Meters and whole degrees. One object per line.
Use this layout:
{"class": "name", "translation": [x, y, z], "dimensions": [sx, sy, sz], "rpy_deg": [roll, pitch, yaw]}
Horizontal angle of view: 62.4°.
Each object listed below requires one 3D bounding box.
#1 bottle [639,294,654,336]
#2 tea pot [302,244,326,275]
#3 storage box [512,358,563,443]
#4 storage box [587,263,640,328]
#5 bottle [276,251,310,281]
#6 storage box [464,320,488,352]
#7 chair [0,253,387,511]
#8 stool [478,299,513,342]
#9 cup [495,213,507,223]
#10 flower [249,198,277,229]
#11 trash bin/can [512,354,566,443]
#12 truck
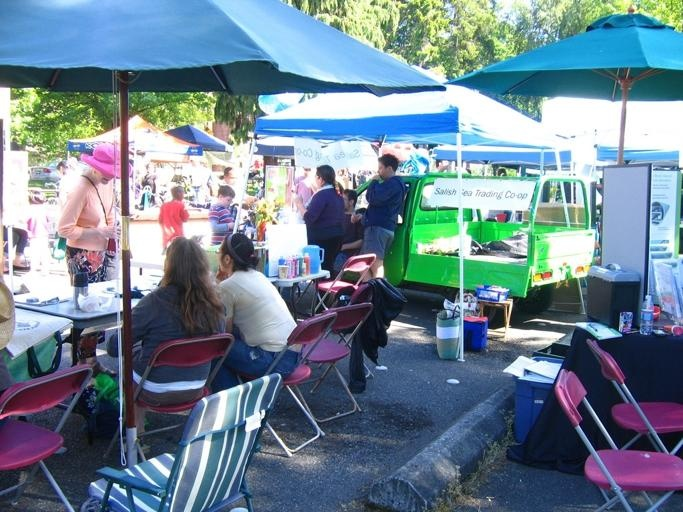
{"class": "bottle", "translation": [2.277, 0.428, 4.200], "dimensions": [0.095, 0.280, 0.197], "rpy_deg": [7, 12, 29]}
{"class": "tea pot", "translation": [-0.304, 0.047, 6.971], "dimensions": [0.210, 0.372, 0.338], "rpy_deg": [-1, -1, 27]}
{"class": "storage box", "translation": [1.612, 1.246, 4.719], "dimensions": [0.328, 0.601, 0.675], "rpy_deg": [5, 11, 22]}
{"class": "storage box", "translation": [2.124, 0.255, 4.577], "dimensions": [0.335, 0.638, 0.522], "rpy_deg": [1, 3, -5]}
{"class": "bottle", "translation": [-0.540, 0.130, 6.588], "dimensions": [0.147, 0.359, 0.536], "rpy_deg": [-2, -5, 26]}
{"class": "storage box", "translation": [1.602, 0.949, 6.750], "dimensions": [0.281, 0.341, 0.359], "rpy_deg": [1, 1, 24]}
{"class": "chair", "translation": [-1.060, 0.967, 4.119], "dimensions": [1.074, 0.826, 1.530], "rpy_deg": [2, 4, 36]}
{"class": "stool", "translation": [2.138, 0.852, 7.508], "dimensions": [0.414, 0.765, 0.603], "rpy_deg": [1, 0, 25]}
{"class": "cup", "translation": [2.720, -0.631, 9.596], "dimensions": [0.190, 0.195, 0.174], "rpy_deg": [1, 1, 0]}
{"class": "flower", "translation": [-0.941, -0.564, 6.954], "dimensions": [0.328, 0.372, 0.205], "rpy_deg": [3, -17, -10]}
{"class": "trash bin/can", "translation": [1.562, 1.156, 4.460], "dimensions": [0.338, 0.681, 0.650], "rpy_deg": [8, 5, 7]}
{"class": "truck", "translation": [2.109, 0.040, 8.633], "dimensions": [3.293, 2.108, 2.171], "rpy_deg": [14, 16, 42]}
